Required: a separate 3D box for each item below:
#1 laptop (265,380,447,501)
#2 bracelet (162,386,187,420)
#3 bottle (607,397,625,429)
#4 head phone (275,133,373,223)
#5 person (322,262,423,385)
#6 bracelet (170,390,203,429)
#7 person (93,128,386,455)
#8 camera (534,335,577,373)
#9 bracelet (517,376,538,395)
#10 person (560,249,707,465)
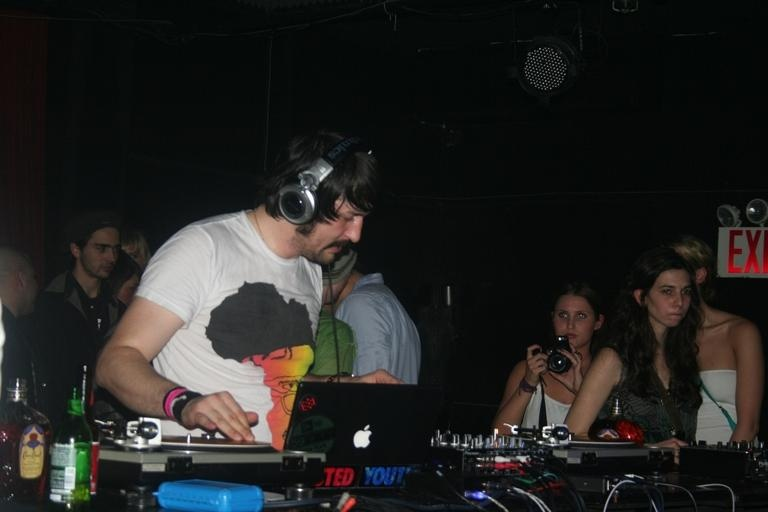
[{"bbox_3d":[-0.072,0.616,2.640,0.547,0.372,0.383,5,4,-19],"label":"laptop"},{"bbox_3d":[-0.719,0.504,2.595,0.052,0.108,0.083,0,-5,9],"label":"bracelet"},{"bbox_3d":[1.024,0.691,3.327,0.049,0.169,0.338,1,-15,17],"label":"bottle"},{"bbox_3d":[-0.232,-0.301,3.127,0.154,0.382,0.423,11,0,30],"label":"head phone"},{"bbox_3d":[-0.058,0.376,3.936,0.417,0.584,0.783,3,14,1],"label":"person"},{"bbox_3d":[-0.669,0.513,2.580,0.109,0.110,0.060,-5,-17,36],"label":"bracelet"},{"bbox_3d":[-0.466,0.273,3.115,0.772,1.573,1.193,25,23,39],"label":"person"},{"bbox_3d":[1.002,0.575,4.304,0.234,0.231,0.270,0,-1,4],"label":"camera"},{"bbox_3d":[0.838,0.756,4.428,0.108,0.076,0.079,3,25,-32],"label":"bracelet"},{"bbox_3d":[1.509,0.558,4.207,1.008,1.386,0.482,-5,22,-2],"label":"person"}]
